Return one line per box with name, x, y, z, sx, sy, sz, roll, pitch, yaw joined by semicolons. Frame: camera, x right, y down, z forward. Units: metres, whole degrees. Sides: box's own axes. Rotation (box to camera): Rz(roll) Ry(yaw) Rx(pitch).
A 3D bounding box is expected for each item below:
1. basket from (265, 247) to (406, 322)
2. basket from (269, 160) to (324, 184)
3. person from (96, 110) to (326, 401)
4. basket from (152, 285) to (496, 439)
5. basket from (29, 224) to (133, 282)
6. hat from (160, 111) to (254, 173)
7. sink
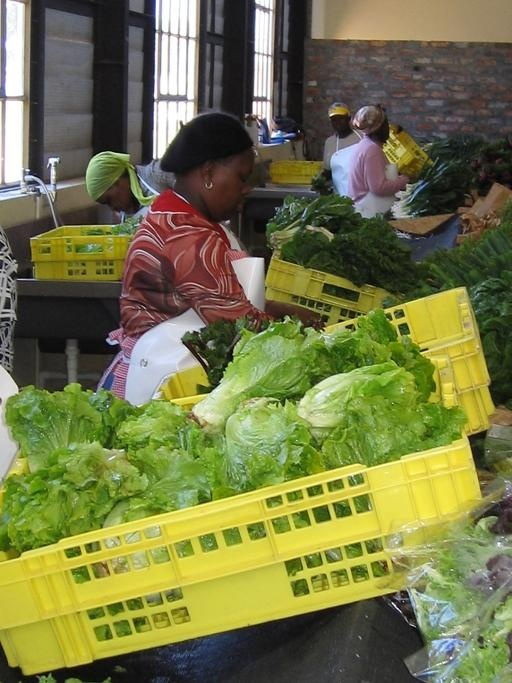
basket;0.374;-0.284;2.731;0.560;0.214;0.341;19;13;-10
basket;0.563;-2.514;8.247;0.948;0.333;0.687;1;17;6
person;-0.126;-0.226;1.911;0.882;1.003;0.506;2;23;0
basket;0.203;0.093;1.283;0.703;0.212;0.387;-22;-17;-8
basket;-1.049;-0.534;3.386;0.643;0.226;0.604;-1;17;-1
hat;-0.169;-0.636;1.754;0.303;0.201;0.177;-9;6;-4
sink;-1.127;-0.224;3.295;0.486;0.260;0.458;1;2;-2
